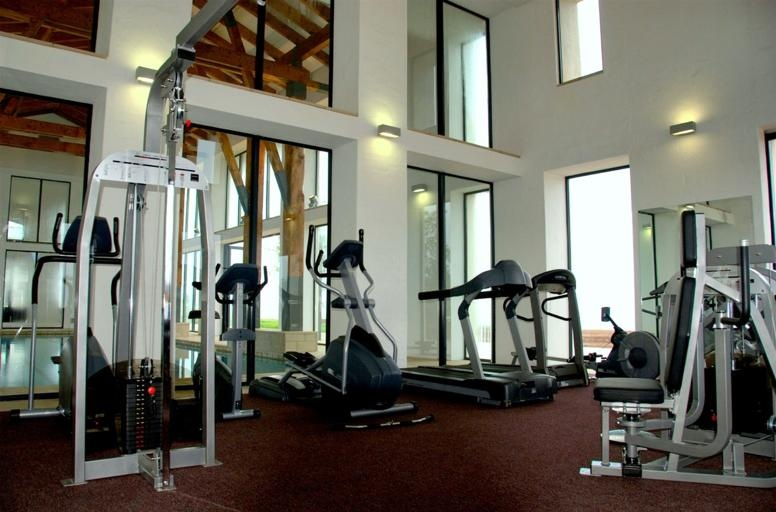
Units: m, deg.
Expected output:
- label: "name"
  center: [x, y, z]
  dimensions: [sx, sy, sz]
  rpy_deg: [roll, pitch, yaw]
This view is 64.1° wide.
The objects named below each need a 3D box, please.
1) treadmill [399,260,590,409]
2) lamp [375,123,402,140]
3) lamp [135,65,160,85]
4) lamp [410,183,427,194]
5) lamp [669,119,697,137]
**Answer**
- label: "treadmill"
  center: [1.344, 0.770, 7.843]
  dimensions: [2.051, 1.807, 1.560]
  rpy_deg: [1, 0, -26]
- label: "lamp"
  center: [0.059, -1.730, 8.583]
  dimensions: [0.451, 0.184, 0.211]
  rpy_deg: [-4, 6, -36]
- label: "lamp"
  center: [-2.743, -2.062, 7.040]
  dimensions: [0.213, 0.185, 0.178]
  rpy_deg: [-2, 5, -21]
- label: "lamp"
  center: [0.502, -1.079, 9.848]
  dimensions: [0.283, 0.148, 0.129]
  rpy_deg: [-2, 5, -19]
- label: "lamp"
  center: [4.008, -1.745, 8.455]
  dimensions: [0.335, 0.175, 0.163]
  rpy_deg: [10, 11, 43]
